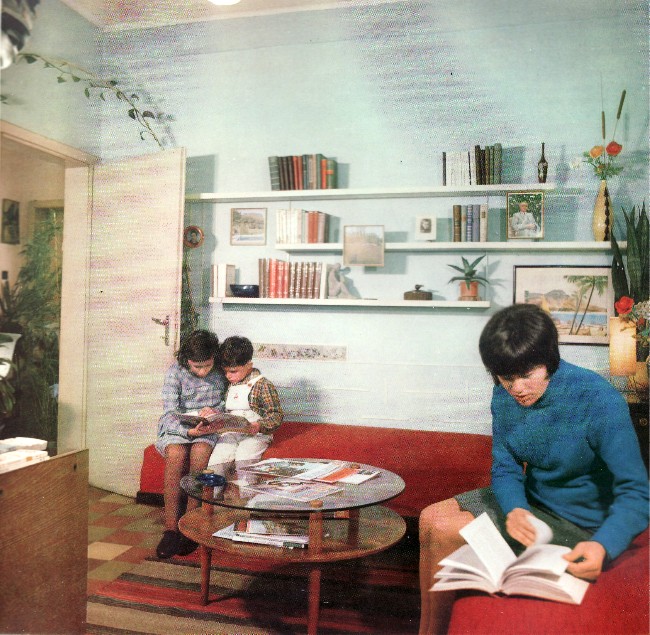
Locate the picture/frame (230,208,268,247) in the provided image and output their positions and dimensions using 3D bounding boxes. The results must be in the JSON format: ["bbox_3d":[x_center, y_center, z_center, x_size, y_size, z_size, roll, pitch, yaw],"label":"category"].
[{"bbox_3d":[-0.267,-0.323,2.294,0.172,0.140,0.007,1,4,15],"label":"picture/frame"}]

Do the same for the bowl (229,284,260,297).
[{"bbox_3d":[-0.287,-0.096,2.284,0.079,0.025,0.052,1,-1,8],"label":"bowl"}]

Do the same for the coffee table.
[{"bbox_3d":[-0.065,0.578,1.976,0.643,0.331,0.587,2,0,32],"label":"coffee table"}]

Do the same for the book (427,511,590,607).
[{"bbox_3d":[0.544,0.645,1.904,0.430,0.142,0.266,0,5,34],"label":"book"}]

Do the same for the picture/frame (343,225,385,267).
[{"bbox_3d":[0.136,-0.243,2.193,0.176,0.131,0.055,0,-2,9],"label":"picture/frame"}]

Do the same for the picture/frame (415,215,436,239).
[{"bbox_3d":[0.337,-0.299,2.150,0.087,0.073,0.075,1,-4,2],"label":"picture/frame"}]

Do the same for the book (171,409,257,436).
[{"bbox_3d":[-0.384,0.367,2.258,0.144,0.045,0.141,2,1,24],"label":"book"}]

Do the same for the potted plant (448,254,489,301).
[{"bbox_3d":[0.471,-0.130,2.110,0.156,0.129,0.146,3,-3,-24],"label":"potted plant"}]
